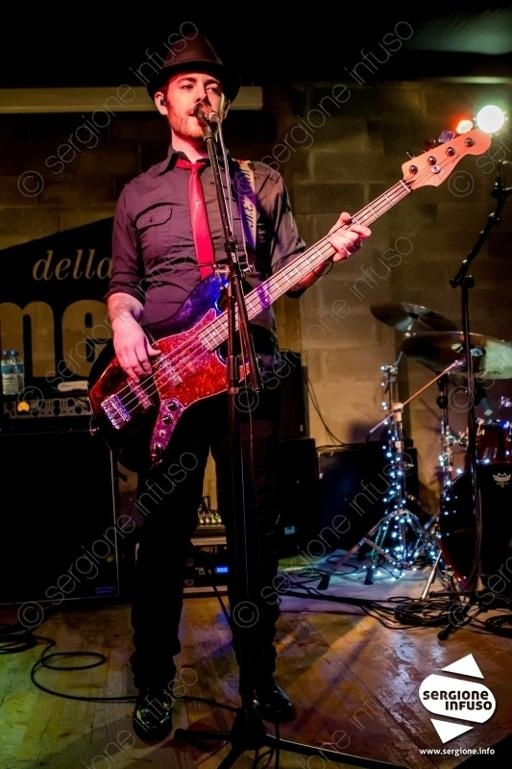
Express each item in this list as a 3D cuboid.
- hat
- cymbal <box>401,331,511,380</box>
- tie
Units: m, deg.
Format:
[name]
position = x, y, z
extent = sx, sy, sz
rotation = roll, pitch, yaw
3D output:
[hat]
position = -0.155, -0.810, 1.664
extent = 0.196, 0.074, 0.150
rotation = -3, 26, -13
[cymbal]
position = 0.828, -0.131, 2.748
extent = 0.298, 0.071, 0.282
rotation = 7, -23, 2
[tie]
position = -0.138, -0.421, 1.661
extent = 0.068, 0.416, 0.060
rotation = -3, -31, -8
